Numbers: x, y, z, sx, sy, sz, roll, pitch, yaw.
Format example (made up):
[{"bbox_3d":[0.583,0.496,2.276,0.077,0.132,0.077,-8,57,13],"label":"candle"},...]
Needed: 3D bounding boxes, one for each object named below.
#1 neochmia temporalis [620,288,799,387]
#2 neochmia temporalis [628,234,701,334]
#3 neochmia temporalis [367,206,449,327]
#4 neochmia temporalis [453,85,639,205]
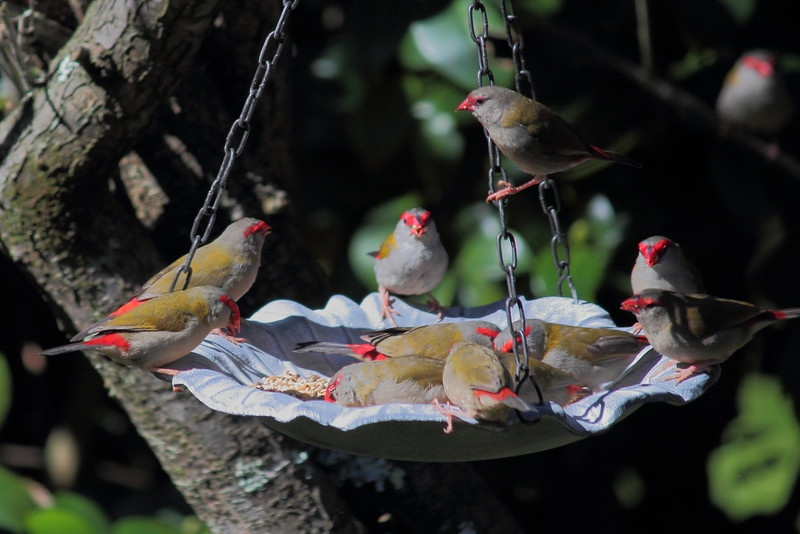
[{"bbox_3d":[1.499,0.225,5.262,0.673,0.225,0.478,-27,78,-3],"label":"neochmia temporalis"},{"bbox_3d":[1.425,0.030,5.852,0.476,0.356,0.604,63,34,-21],"label":"neochmia temporalis"},{"bbox_3d":[0.041,-0.012,6.027,0.374,0.189,0.641,32,81,9],"label":"neochmia temporalis"},{"bbox_3d":[0.806,-0.698,5.799,0.982,0.330,0.524,-6,98,-7],"label":"neochmia temporalis"}]
